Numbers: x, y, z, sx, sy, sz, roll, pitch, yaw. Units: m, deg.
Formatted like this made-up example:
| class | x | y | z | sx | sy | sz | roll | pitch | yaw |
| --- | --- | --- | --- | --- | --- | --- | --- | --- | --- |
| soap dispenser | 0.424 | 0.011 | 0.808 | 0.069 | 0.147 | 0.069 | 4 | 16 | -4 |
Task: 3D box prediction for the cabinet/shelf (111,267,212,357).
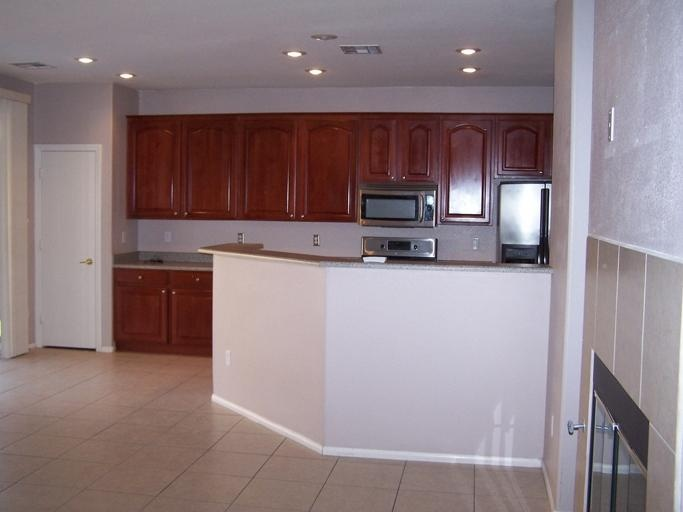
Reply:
| class | x | y | z | sx | sy | sz | roll | pitch | yaw |
| --- | --- | --- | --- | --- | --- | --- | --- | --- | --- |
| cabinet/shelf | -2.041 | 0.601 | 6.243 | 1.016 | 0.656 | 0.372 | 0 | -2 | 9 |
